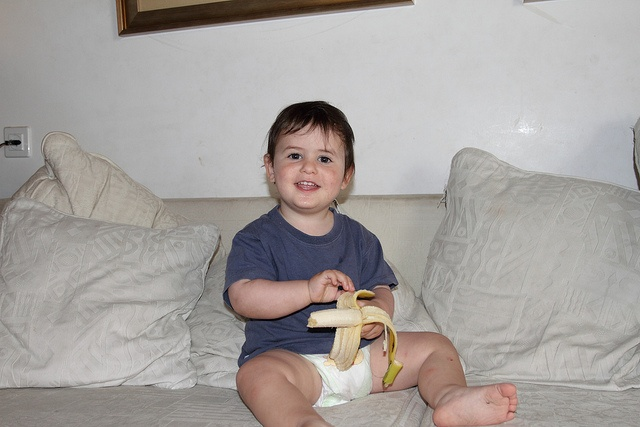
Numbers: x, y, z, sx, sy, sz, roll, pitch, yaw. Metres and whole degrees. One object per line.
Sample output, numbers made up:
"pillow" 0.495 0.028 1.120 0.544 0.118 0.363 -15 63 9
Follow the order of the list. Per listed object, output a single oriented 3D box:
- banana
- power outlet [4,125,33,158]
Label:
"banana" 0.084 0.355 1.400 0.220 0.144 0.292 17 -29 -5
"power outlet" -1.371 -0.323 2.297 0.152 0.143 0.033 2 1 19
